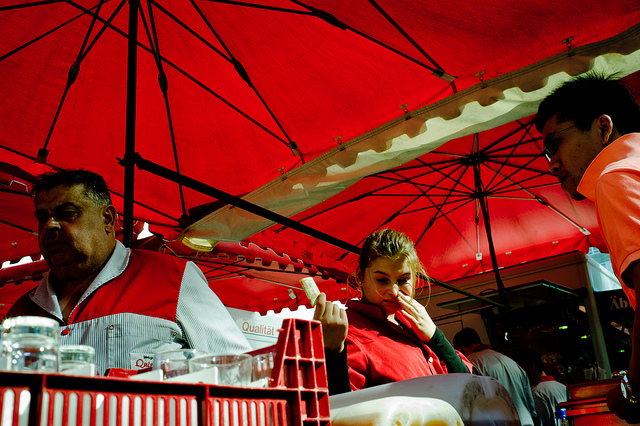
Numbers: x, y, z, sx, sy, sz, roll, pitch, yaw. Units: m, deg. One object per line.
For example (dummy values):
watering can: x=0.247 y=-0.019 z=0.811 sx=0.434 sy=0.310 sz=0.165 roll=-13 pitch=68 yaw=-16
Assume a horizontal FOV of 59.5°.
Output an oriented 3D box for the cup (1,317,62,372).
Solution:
cup: x=-1.067 y=0.487 z=2.166 sx=0.227 sy=0.215 sz=0.208 roll=-5 pitch=-28 yaw=-3

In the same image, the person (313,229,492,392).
person: x=0.441 y=0.619 z=3.795 sx=0.611 sy=1.145 sz=1.776 roll=-18 pitch=-24 yaw=21

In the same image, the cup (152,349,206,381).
cup: x=-0.619 y=0.633 z=2.358 sx=0.152 sy=0.100 sz=0.141 roll=0 pitch=-16 yaw=0

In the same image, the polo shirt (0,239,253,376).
polo shirt: x=-1.239 y=0.544 z=3.557 sx=1.368 sy=0.915 sz=0.450 roll=-7 pitch=-28 yaw=-3

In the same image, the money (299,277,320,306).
money: x=-0.046 y=0.384 z=2.762 sx=0.081 sy=0.156 sz=0.149 roll=-7 pitch=-23 yaw=-3

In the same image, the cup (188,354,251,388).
cup: x=-0.409 y=0.632 z=2.253 sx=0.188 sy=0.104 sz=0.161 roll=-5 pitch=-14 yaw=13

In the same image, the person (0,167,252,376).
person: x=-1.405 y=0.301 z=4.084 sx=1.453 sy=1.285 sz=0.788 roll=-28 pitch=-38 yaw=9

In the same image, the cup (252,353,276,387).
cup: x=-0.238 y=0.659 z=2.355 sx=0.098 sy=0.133 sz=0.051 roll=-6 pitch=-24 yaw=-6

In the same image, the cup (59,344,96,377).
cup: x=-0.964 y=0.586 z=2.240 sx=0.166 sy=0.129 sz=0.156 roll=0 pitch=-9 yaw=0

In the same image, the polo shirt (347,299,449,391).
polo shirt: x=0.470 y=0.845 z=3.796 sx=0.741 sy=0.627 sz=0.420 roll=-3 pitch=-24 yaw=-13
